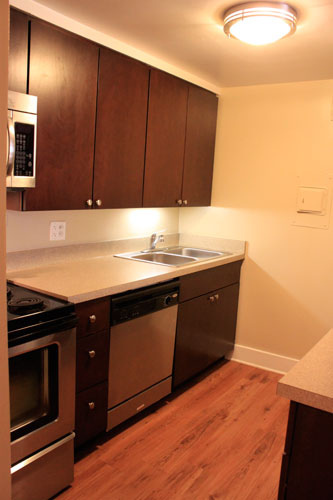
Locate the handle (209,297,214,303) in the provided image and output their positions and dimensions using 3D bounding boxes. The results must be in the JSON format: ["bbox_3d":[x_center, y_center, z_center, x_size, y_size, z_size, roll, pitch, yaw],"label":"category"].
[{"bbox_3d":[0.343,0.377,2.809,0.019,0.035,0.034,9,33,17],"label":"handle"}]

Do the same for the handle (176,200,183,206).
[{"bbox_3d":[0.096,-0.368,2.875,0.029,0.043,0.015,3,-1,-11],"label":"handle"}]

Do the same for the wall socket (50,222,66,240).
[{"bbox_3d":[-0.674,-0.119,2.277,0.009,0.101,0.095,12,17,28],"label":"wall socket"}]

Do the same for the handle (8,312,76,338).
[{"bbox_3d":[-0.471,0.290,1.439,0.018,0.024,0.339,6,6,30],"label":"handle"}]

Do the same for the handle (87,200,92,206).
[{"bbox_3d":[-0.431,-0.265,2.073,0.018,0.026,0.023,2,-8,-7],"label":"handle"}]

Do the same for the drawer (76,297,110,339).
[{"bbox_3d":[-0.353,0.327,1.778,0.035,0.168,0.235,5,6,25],"label":"drawer"}]

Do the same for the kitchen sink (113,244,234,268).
[{"bbox_3d":[0.107,0.061,2.962,0.613,0.124,1.012,7,7,30],"label":"kitchen sink"}]

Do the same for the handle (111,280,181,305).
[{"bbox_3d":[-0.091,0.240,2.148,0.025,0.060,0.668,7,6,33],"label":"handle"}]

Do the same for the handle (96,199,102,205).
[{"bbox_3d":[-0.390,-0.273,2.125,0.017,0.020,0.023,13,33,19],"label":"handle"}]

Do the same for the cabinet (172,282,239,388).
[{"bbox_3d":[0.179,0.579,2.998,0.467,0.660,0.878,12,16,36],"label":"cabinet"}]

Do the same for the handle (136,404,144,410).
[{"bbox_3d":[-0.159,0.929,2.198,0.008,0.015,0.055,14,11,24],"label":"handle"}]

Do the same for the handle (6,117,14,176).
[{"bbox_3d":[-0.594,-0.410,1.416,0.020,0.236,0.250,1,6,-23],"label":"handle"}]
